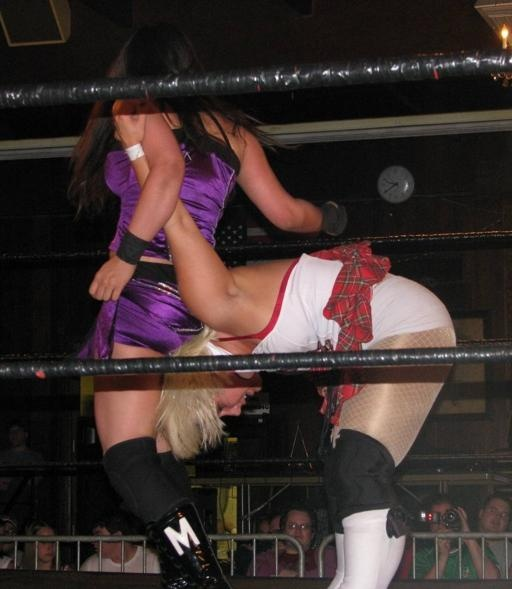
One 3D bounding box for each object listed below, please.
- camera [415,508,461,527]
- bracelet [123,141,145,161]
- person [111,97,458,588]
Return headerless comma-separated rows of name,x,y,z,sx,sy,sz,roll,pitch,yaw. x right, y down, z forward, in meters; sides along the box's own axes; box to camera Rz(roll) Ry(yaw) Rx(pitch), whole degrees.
camera,0.890,1.100,5.177,0.189,0.061,0.136,1,-1,-27
bracelet,-0.395,-0.466,3.438,0.071,0.041,0.057,-4,-4,-13
person,0.211,0.320,3.474,0.931,1.190,0.525,11,14,29
